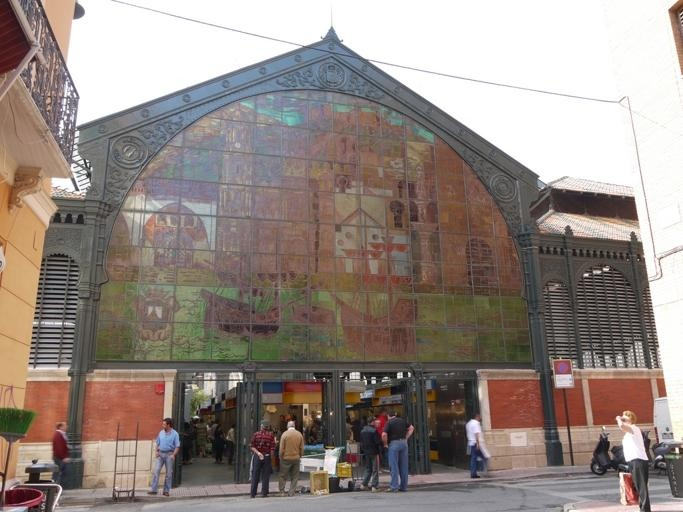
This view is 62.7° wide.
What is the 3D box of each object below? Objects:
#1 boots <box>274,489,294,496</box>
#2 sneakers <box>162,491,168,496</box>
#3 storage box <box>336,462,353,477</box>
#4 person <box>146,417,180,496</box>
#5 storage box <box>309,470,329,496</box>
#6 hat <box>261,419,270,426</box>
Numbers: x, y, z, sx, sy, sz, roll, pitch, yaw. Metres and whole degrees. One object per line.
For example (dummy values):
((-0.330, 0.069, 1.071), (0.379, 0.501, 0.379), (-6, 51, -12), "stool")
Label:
((-1.599, 6.732, 16.029), (0.585, 0.239, 0.191), (-5, -26, 4), "boots")
((-5.118, 6.934, 16.450), (0.149, 0.078, 0.252), (4, -18, -18), "sneakers")
((0.101, 6.397, 16.925), (0.437, 0.276, 0.425), (3, -23, -3), "storage box")
((-5.356, 6.034, 17.047), (0.765, 2.185, 1.500), (3, -18, -16), "person")
((-0.606, 6.554, 16.291), (0.548, 0.596, 0.326), (11, -30, -25), "storage box")
((-2.251, 4.928, 16.715), (0.296, 0.199, 0.387), (7, -20, -12), "hat")
